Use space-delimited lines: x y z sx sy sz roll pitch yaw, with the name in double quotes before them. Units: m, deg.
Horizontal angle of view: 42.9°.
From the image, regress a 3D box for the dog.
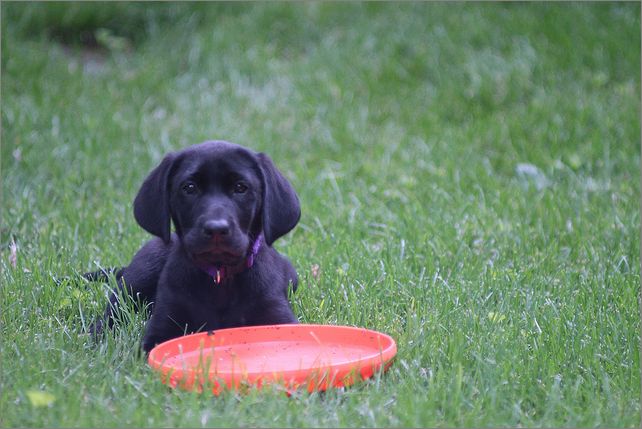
"dog" -0.856 0.250 7.018 1.524 1.196 1.554 3 -9 6
